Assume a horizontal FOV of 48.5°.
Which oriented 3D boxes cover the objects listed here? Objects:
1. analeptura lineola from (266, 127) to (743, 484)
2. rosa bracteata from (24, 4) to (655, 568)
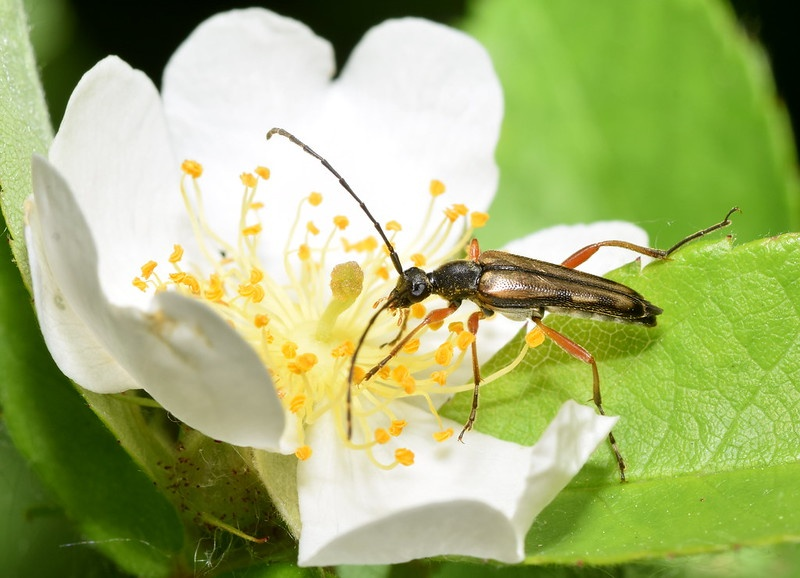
[{"bbox_3d":[0.308,0.007,2.409,0.976,0.939,0.475,3,89,25],"label":"analeptura lineola"},{"bbox_3d":[-0.286,-0.055,2.255,1.288,0.575,1.495,13,53,-23],"label":"rosa bracteata"}]
